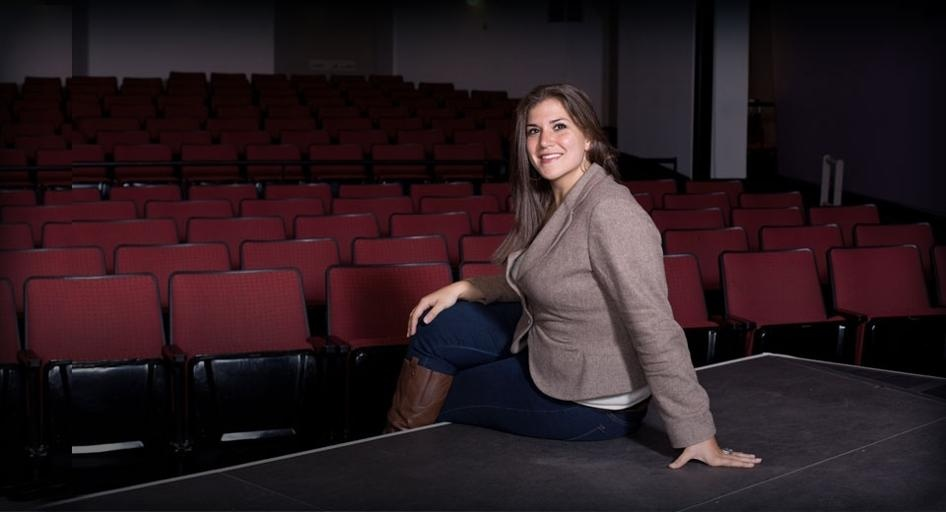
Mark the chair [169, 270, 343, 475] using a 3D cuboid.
[{"bbox_3d":[-1.367,0.642,3.711,0.923,0.940,0.739,-1,10,-25],"label":"chair"}]

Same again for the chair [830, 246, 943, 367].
[{"bbox_3d":[3.070,0.182,4.560,0.794,0.517,0.285,-1,1,-18],"label":"chair"}]

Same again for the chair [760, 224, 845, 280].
[{"bbox_3d":[2.807,-0.004,5.428,0.584,0.639,0.588,0,-6,-3],"label":"chair"}]

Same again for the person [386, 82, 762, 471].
[{"bbox_3d":[0.416,0.076,2.918,1.532,1.785,0.349,-1,1,19],"label":"person"}]

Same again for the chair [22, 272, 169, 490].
[{"bbox_3d":[-2.186,0.673,3.597,0.824,0.932,0.846,9,8,35],"label":"chair"}]

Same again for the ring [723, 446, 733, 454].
[{"bbox_3d":[1.164,0.892,2.788,0.042,0.013,0.033,4,1,-1],"label":"ring"}]

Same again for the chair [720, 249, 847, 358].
[{"bbox_3d":[2.481,0.183,4.760,0.720,0.893,0.747,13,-18,18],"label":"chair"}]
